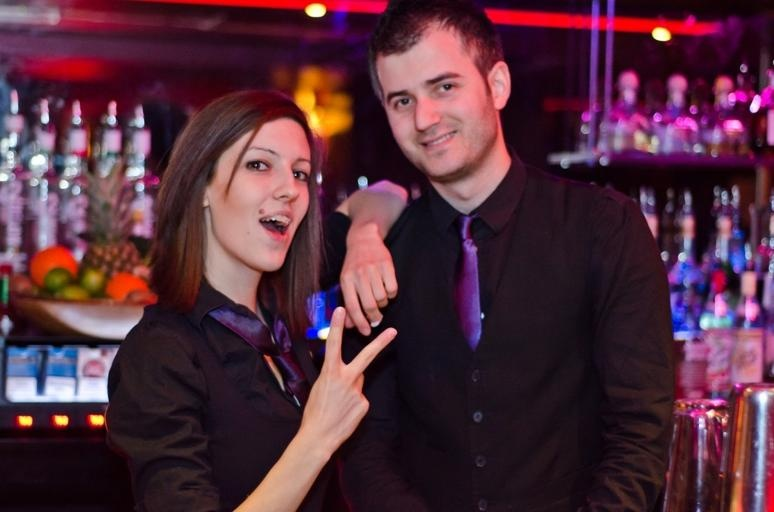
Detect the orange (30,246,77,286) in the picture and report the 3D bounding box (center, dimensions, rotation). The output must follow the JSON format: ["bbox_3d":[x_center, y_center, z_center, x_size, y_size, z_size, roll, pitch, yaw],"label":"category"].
[{"bbox_3d":[-1.472,0.026,3.511,0.186,0.187,0.185,-5,-20,0],"label":"orange"}]

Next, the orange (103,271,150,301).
[{"bbox_3d":[-1.106,0.131,3.355,0.101,0.099,0.105,-2,-15,25],"label":"orange"}]

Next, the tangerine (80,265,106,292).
[{"bbox_3d":[-1.261,0.106,3.450,0.097,0.118,0.099,-14,-15,-6],"label":"tangerine"}]
